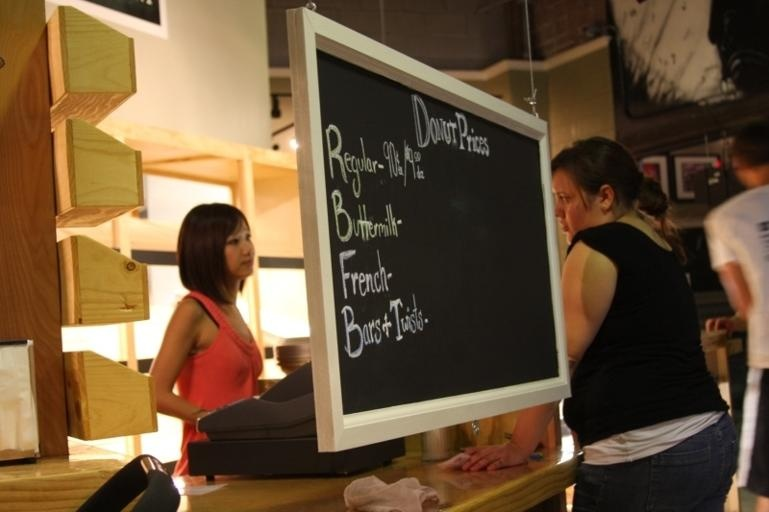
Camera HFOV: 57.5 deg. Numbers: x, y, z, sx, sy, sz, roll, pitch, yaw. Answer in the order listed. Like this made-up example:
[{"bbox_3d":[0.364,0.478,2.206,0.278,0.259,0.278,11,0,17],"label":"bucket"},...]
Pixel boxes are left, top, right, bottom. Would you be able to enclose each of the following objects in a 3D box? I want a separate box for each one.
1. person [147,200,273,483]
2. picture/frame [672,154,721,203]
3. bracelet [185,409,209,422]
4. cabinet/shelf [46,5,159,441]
[{"bbox_3d":[-0.741,0.303,2.841,0.323,1.083,0.456,-8,-7,27],"label":"person"},{"bbox_3d":[1.783,-0.459,3.963,0.258,0.261,0.024,-1,24,22],"label":"picture/frame"},{"bbox_3d":[-0.716,0.606,2.666,0.080,0.047,0.150,-3,-7,-17],"label":"bracelet"},{"bbox_3d":[-0.752,-0.086,1.844,0.218,1.097,0.286,-2,-7,-26],"label":"cabinet/shelf"}]
